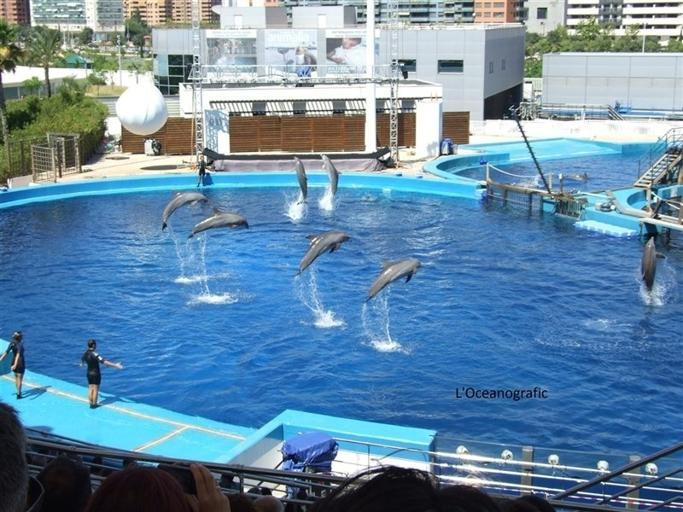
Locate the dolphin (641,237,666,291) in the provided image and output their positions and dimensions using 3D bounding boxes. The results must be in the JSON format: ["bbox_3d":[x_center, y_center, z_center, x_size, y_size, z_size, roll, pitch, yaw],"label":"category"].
[{"bbox_3d":[8.154,0.280,24.310,0.450,1.397,0.604,10,17,33],"label":"dolphin"}]

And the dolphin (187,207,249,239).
[{"bbox_3d":[-3.696,-0.928,27.570,1.927,0.887,0.619,-7,59,-14],"label":"dolphin"}]

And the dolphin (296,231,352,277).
[{"bbox_3d":[-0.462,-0.169,20.624,1.805,0.728,0.559,-22,16,-18],"label":"dolphin"}]

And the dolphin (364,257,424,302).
[{"bbox_3d":[1.084,0.451,19.246,0.675,0.635,1.312,9,17,33],"label":"dolphin"}]

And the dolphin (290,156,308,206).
[{"bbox_3d":[-1.622,-2.713,34.471,0.712,2.380,0.740,-4,-8,12],"label":"dolphin"}]

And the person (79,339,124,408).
[{"bbox_3d":[-4.837,2.329,18.214,1.051,1.322,0.397,2,4,37],"label":"person"}]
